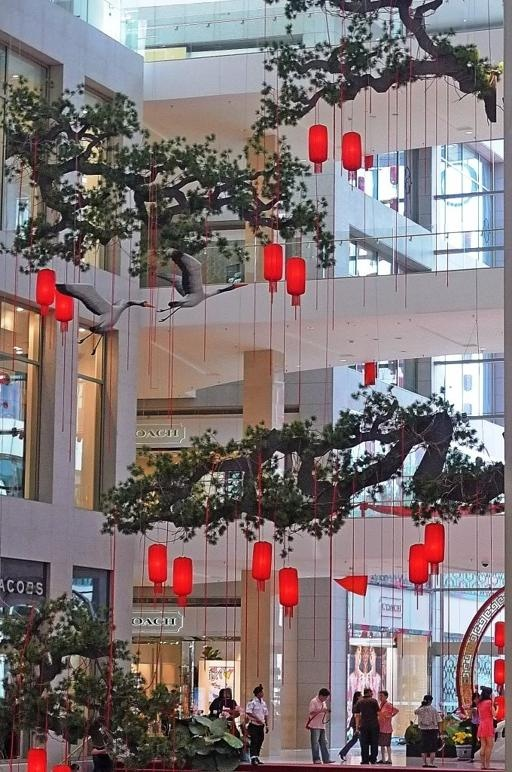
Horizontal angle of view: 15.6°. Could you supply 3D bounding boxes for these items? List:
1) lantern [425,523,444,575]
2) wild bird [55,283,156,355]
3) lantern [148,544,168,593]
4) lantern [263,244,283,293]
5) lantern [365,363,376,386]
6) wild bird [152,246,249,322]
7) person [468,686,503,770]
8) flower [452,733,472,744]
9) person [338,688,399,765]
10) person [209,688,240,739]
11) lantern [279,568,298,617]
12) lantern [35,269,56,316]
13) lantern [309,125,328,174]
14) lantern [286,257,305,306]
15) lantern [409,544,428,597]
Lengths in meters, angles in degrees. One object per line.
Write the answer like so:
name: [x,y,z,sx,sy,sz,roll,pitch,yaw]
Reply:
lantern: [2.090,1.865,21.928,0.204,0.518,0.194,0,-8,6]
wild bird: [-1.801,-0.809,23.730,1.113,0.941,1.671,6,7,30]
lantern: [-1.207,2.162,22.680,0.204,0.678,0.240,4,24,7]
lantern: [0.199,-1.384,22.383,0.211,0.691,0.584,1,-9,-2]
lantern: [1.479,-0.122,24.279,0.135,0.289,0.363,1,-9,-1]
wild bird: [-0.802,-1.145,23.690,1.170,0.574,1.338,-10,-23,16]
person: [3.123,4.512,24.955,0.283,1.180,0.389,2,-11,2]
flower: [3.078,5.193,27.736,0.161,0.182,0.181,2,-2,22]
person: [1.640,4.668,25.830,0.594,0.984,2.402,0,-10,4]
person: [-0.409,4.148,23.947,0.390,0.618,1.139,1,-10,-1]
lantern: [0.410,2.569,23.687,0.280,0.680,0.327,2,10,11]
lantern: [-2.624,-1.205,23.225,0.232,0.446,0.393,2,-9,-7]
lantern: [0.737,-2.789,22.198,0.195,0.497,0.606,0,-9,4]
lantern: [0.460,-1.202,22.050,0.213,0.643,0.472,1,-9,0]
lantern: [1.914,2.140,22.078,0.205,0.616,0.207,-5,5,-35]
